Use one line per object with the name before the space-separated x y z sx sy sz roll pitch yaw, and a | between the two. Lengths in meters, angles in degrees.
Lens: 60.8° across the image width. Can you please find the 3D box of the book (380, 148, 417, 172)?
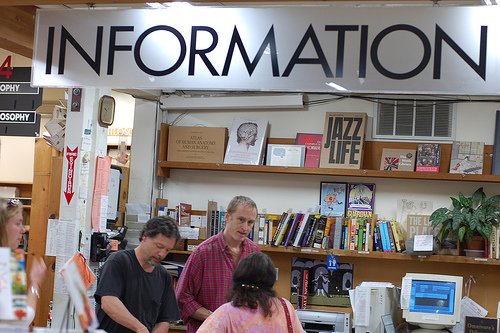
book | 1.875 -0.083 5.408 0.423 0.284 0.077 2 -7 14

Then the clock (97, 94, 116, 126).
clock | -1.662 -0.638 4.996 0.113 0.374 0.290 2 -7 7

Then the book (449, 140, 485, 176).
book | 2.684 -0.087 5.283 0.360 0.448 0.036 9 -20 11

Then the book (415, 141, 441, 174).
book | 2.210 -0.096 5.323 0.291 0.373 0.122 0 -7 24

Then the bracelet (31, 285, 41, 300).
bracelet | -1.270 0.748 2.521 0.024 0.078 0.082 1 -4 5
